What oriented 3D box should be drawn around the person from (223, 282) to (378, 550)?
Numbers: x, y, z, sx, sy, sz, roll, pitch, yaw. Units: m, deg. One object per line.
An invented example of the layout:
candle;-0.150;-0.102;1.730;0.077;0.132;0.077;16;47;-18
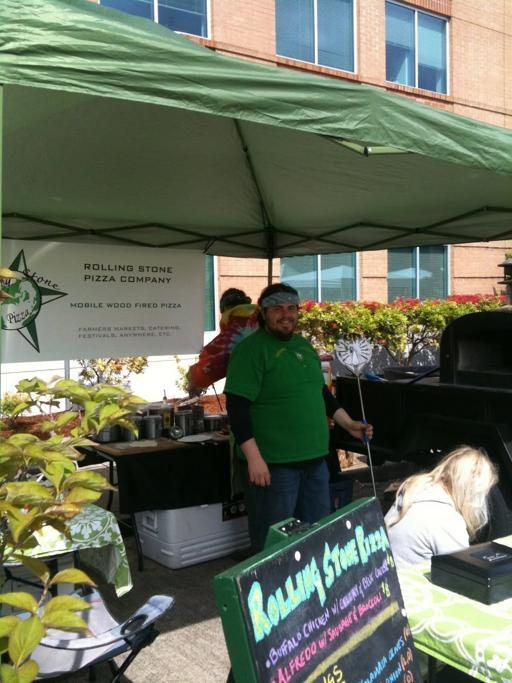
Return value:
person;0.192;0.424;3.385;0.801;1.493;0.368;-2;3;-43
